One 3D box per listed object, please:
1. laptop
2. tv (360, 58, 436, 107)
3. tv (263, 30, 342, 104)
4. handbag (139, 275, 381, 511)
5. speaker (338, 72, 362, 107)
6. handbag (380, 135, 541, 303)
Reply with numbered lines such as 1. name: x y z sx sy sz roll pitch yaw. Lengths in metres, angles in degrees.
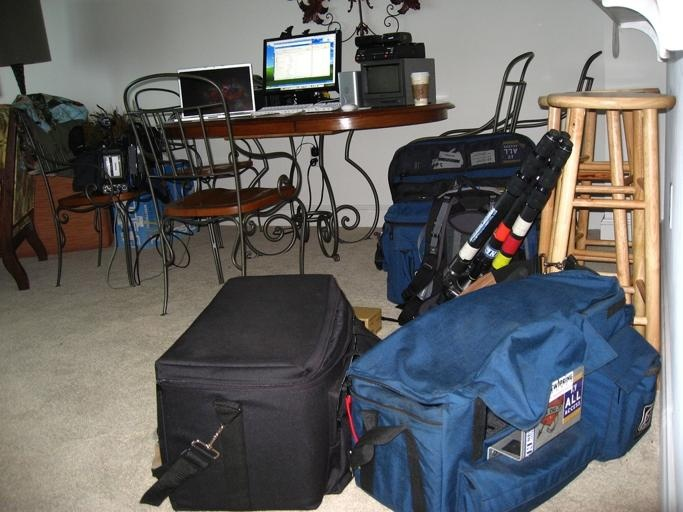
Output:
1. laptop: -0.689 -0.832 3.179 0.419 0.310 0.275 -11 52 -16
2. tv: 0.306 -0.925 3.060 0.250 0.256 0.368 8 17 35
3. tv: -0.235 -1.099 3.365 0.474 0.435 0.176 5 19 22
4. handbag: -0.232 0.389 1.702 0.496 0.452 0.653 1 20 15
5. speaker: 0.026 -0.895 3.062 0.115 0.164 0.115 3 20 20
6. handbag: 0.484 -0.141 2.271 0.598 0.640 0.351 1 11 13
